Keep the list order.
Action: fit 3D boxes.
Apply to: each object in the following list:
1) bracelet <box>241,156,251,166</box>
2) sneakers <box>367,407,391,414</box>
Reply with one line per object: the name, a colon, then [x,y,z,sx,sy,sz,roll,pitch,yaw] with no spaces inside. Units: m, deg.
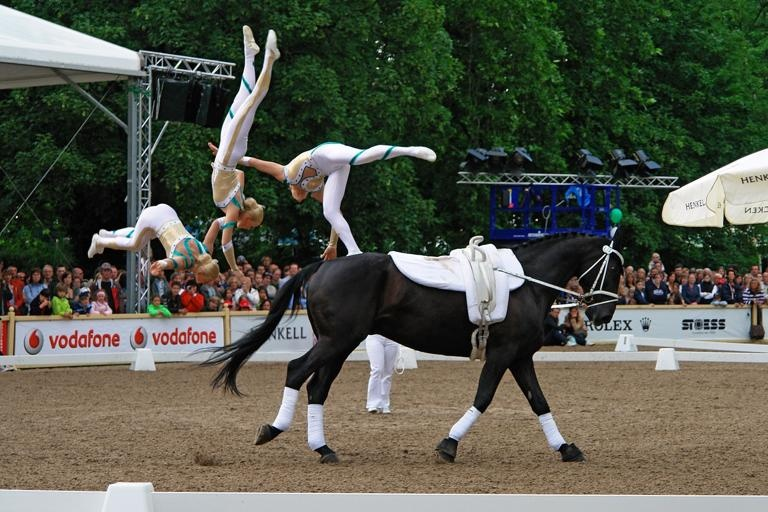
bracelet: [-2.599,-1.738,25.234,0.174,0.156,0.215,3,18,2]
sneakers: [-0.109,3.006,26.052,0.289,0.081,0.178,2,-2,1]
